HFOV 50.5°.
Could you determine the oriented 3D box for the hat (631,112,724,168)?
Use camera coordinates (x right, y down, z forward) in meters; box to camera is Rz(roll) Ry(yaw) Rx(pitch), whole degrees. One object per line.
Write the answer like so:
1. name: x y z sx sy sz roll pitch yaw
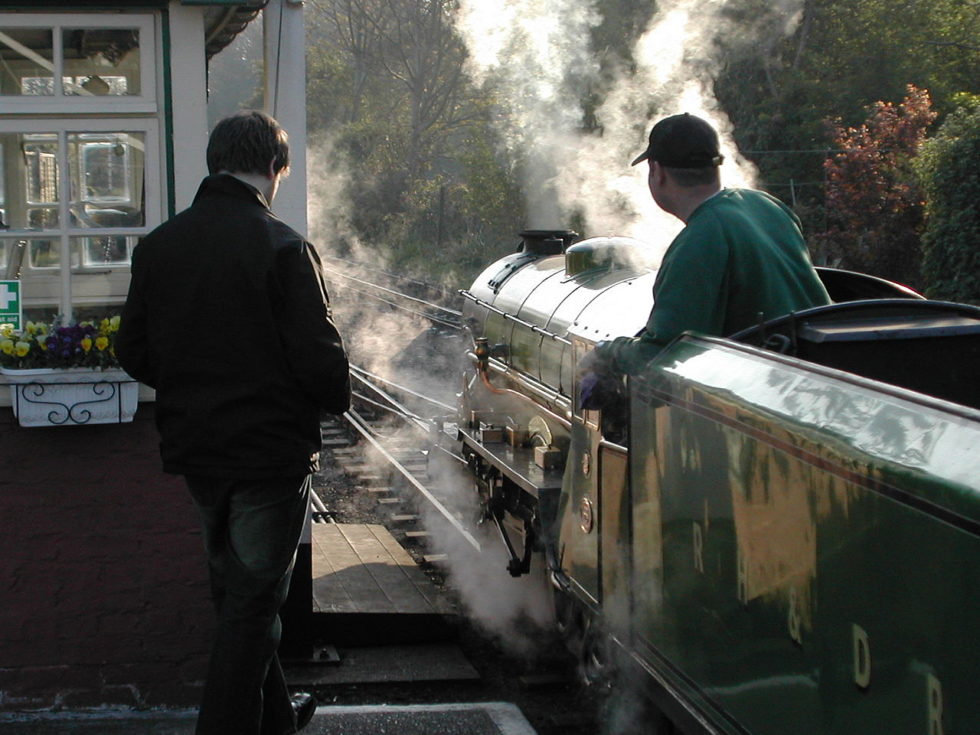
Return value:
1. hat: 0.764 -0.895 4.207 0.329 0.274 0.462 -4 10 -7
